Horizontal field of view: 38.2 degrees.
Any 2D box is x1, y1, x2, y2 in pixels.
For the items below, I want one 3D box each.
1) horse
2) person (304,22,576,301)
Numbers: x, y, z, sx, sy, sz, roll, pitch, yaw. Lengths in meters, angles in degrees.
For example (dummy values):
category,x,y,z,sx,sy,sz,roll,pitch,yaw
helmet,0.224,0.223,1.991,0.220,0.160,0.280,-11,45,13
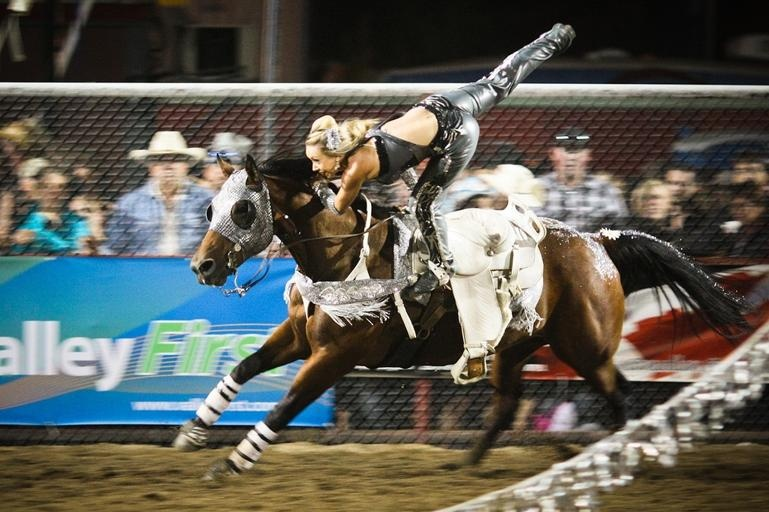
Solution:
category,x,y,z,sx,sy,sz,roll,pitch,yaw
horse,0.675,0.568,8.706,1.347,2.078,5.621,-26,-20,36
person,0.349,-0.627,7.501,1.538,1.829,0.569,1,18,-29
